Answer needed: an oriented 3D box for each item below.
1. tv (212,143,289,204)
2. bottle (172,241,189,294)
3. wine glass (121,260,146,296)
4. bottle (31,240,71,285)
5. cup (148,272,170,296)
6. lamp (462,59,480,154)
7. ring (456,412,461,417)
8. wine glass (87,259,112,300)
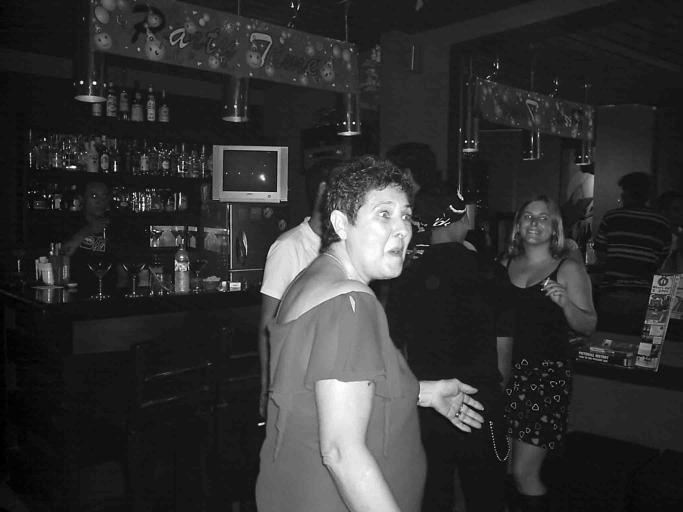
[{"bbox_3d":[-0.806,-0.709,5.682,0.858,0.630,0.452,1,3,-6],"label":"tv"},{"bbox_3d":[-1.274,0.129,5.116,0.121,0.339,0.445,2,2,-14],"label":"bottle"},{"bbox_3d":[-1.606,0.199,5.002,0.235,0.295,0.243,2,-5,-2],"label":"wine glass"},{"bbox_3d":[-2.300,0.083,5.104,0.239,0.324,0.314,1,2,-25],"label":"bottle"},{"bbox_3d":[-1.483,0.238,5.125,0.144,0.214,0.240,1,-4,-18],"label":"cup"},{"bbox_3d":[1.124,-1.366,5.635,0.157,0.909,0.604,2,2,10],"label":"lamp"},{"bbox_3d":[0.520,0.724,2.868,0.021,0.021,0.006,0,1,-31],"label":"ring"},{"bbox_3d":[-1.917,0.203,5.049,0.254,0.329,0.271,1,-3,-4],"label":"wine glass"}]
